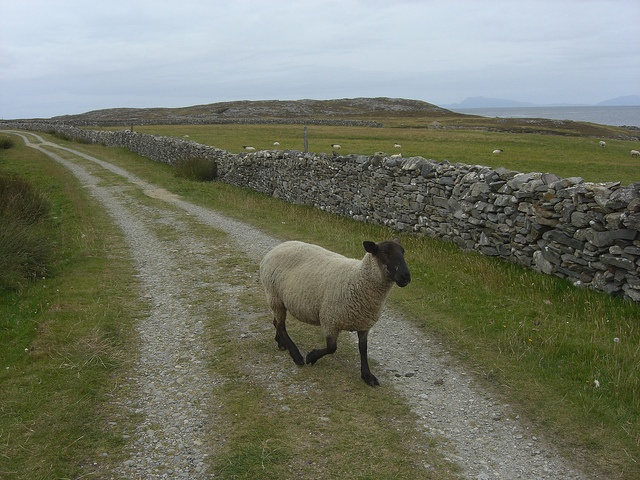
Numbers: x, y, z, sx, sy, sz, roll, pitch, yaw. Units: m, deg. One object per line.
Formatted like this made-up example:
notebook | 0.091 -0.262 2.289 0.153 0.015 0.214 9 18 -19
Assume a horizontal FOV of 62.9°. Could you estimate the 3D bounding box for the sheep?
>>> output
sheep | 0.259 1.150 9.217 1.358 2.528 3.678 -3 8 -42
